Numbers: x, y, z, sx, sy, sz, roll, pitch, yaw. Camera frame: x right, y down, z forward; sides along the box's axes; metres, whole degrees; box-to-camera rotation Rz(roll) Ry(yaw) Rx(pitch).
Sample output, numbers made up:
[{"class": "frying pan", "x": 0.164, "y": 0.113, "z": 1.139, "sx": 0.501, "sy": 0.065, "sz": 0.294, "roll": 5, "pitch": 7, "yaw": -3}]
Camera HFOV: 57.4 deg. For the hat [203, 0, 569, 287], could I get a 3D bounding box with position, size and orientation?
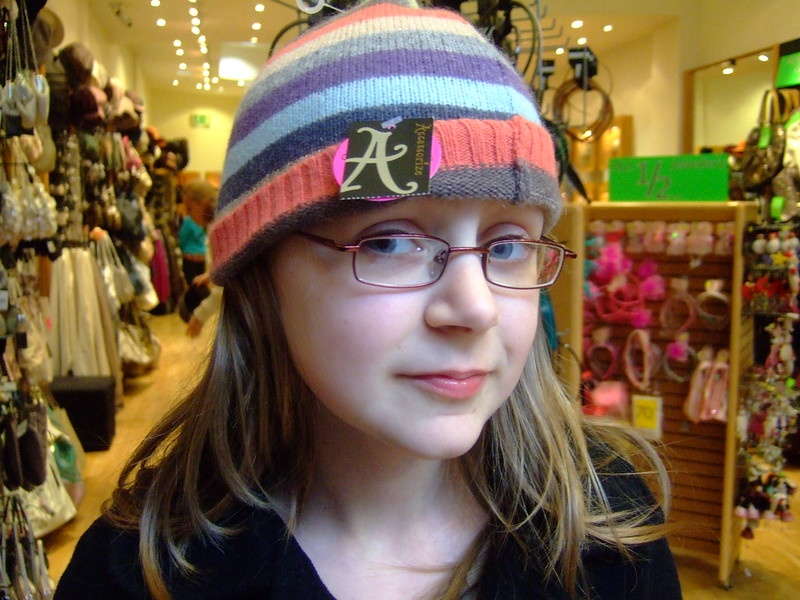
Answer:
[{"class": "hat", "x": -0.044, "y": -0.419, "z": 1.612, "sx": 0.610, "sy": 0.529, "sz": 0.620, "roll": -7, "pitch": 9, "yaw": -37}]
